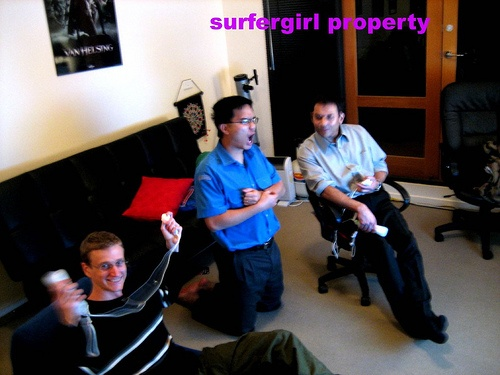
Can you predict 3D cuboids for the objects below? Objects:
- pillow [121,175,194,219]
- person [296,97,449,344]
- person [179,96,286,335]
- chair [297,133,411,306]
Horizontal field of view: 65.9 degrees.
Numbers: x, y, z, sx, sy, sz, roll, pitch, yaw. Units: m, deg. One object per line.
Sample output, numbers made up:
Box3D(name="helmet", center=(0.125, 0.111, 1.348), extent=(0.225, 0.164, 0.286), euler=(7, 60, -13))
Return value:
Box3D(name="pillow", center=(-0.786, 0.078, 3.280), extent=(0.434, 0.116, 0.471), euler=(9, 50, 6))
Box3D(name="person", center=(0.835, 0.168, 2.689), extent=(0.658, 1.488, 1.149), euler=(-10, 20, -11))
Box3D(name="person", center=(-0.162, 0.204, 2.759), extent=(0.843, 1.576, 0.791), euler=(6, 17, 31))
Box3D(name="chair", center=(0.819, 0.259, 2.914), extent=(0.696, 1.063, 0.671), euler=(-7, 17, -22))
